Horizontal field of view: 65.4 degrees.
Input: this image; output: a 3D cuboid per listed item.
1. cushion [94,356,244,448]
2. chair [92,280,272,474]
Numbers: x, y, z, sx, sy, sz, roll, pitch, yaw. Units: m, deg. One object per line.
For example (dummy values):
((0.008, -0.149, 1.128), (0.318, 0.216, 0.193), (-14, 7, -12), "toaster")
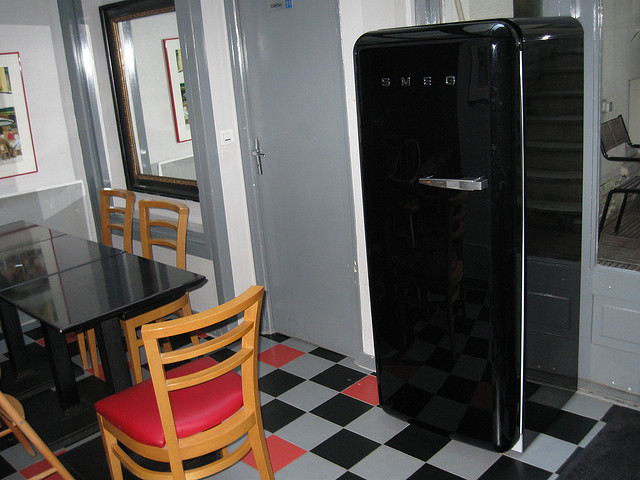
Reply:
((-0.628, 0.683, 2.110), (0.398, 0.100, 0.434), (16, 27, 41), "cushion")
((-0.661, 0.652, 2.294), (0.548, 0.913, 0.555), (-25, 42, -35), "chair")
